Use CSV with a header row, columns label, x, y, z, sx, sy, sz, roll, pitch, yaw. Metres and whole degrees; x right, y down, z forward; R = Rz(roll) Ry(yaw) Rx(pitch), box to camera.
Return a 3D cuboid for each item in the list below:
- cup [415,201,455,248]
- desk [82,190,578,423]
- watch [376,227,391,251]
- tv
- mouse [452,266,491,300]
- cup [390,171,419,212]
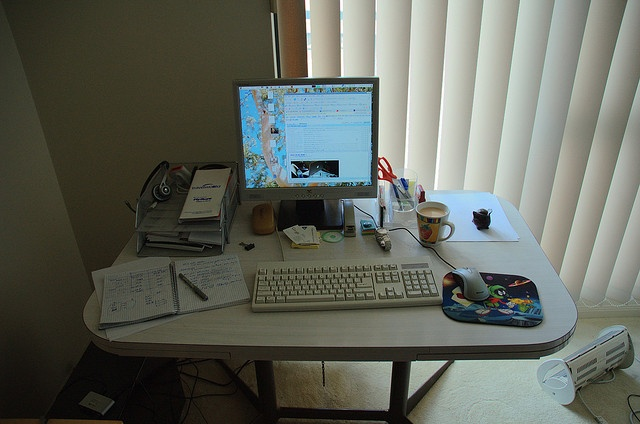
label,x,y,z,sx,sy,sz,roll,pitch,yaw
cup,0.507,0.064,1.941,0.138,0.145,0.203,-18,28,-27
desk,0.199,0.427,2.135,1.542,0.916,1.023,1,64,1
watch,0.274,0.115,1.943,0.056,0.038,0.092,-3,42,-5
tv,-0.057,-0.265,2.012,0.652,0.624,0.348,-1,31,0
mouse,0.591,0.260,1.782,0.101,0.066,0.193,-6,30,-10
cup,0.382,-0.111,2.214,0.173,0.201,0.187,-3,30,2
